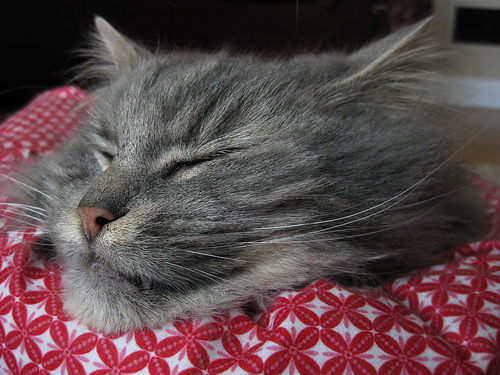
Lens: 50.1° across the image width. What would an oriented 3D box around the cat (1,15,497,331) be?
[{"bbox_3d":[0.046,-0.027,1.329,0.988,1.025,0.405,4,101,28],"label":"cat"}]
